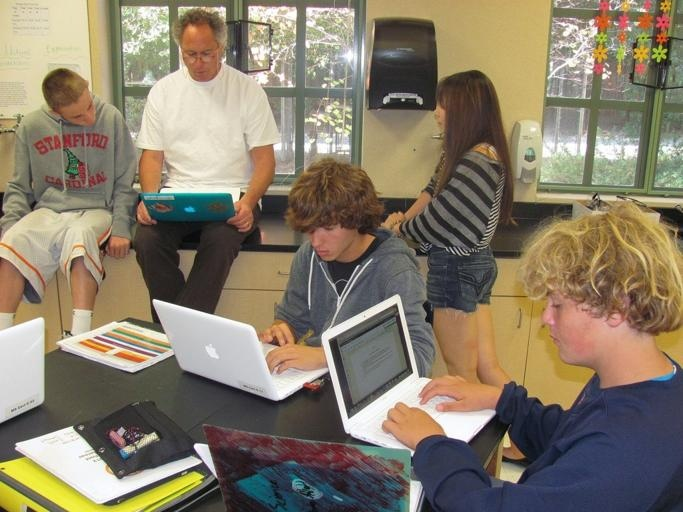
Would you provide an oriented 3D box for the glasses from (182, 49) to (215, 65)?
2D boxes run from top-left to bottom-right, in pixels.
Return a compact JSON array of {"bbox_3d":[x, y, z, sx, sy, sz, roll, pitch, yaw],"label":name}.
[{"bbox_3d":[-0.753,-1.041,2.998,0.089,0.032,0.094,-1,-4,-1],"label":"glasses"}]

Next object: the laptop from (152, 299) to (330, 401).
[{"bbox_3d":[-0.331,0.181,1.744,0.417,0.259,0.328,13,25,31],"label":"laptop"}]

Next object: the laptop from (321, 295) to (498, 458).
[{"bbox_3d":[0.190,0.335,1.635,0.391,0.327,0.460,7,23,35],"label":"laptop"}]
